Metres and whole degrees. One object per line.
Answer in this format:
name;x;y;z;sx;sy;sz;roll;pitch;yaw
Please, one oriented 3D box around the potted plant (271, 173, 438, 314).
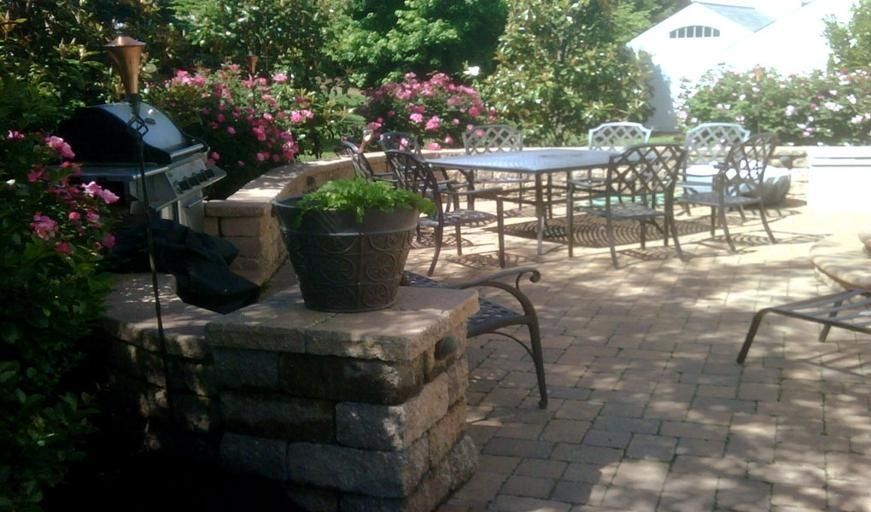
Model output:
potted plant;-0.476;-0.075;4.300;0.917;0.579;0.896;1;3;4
